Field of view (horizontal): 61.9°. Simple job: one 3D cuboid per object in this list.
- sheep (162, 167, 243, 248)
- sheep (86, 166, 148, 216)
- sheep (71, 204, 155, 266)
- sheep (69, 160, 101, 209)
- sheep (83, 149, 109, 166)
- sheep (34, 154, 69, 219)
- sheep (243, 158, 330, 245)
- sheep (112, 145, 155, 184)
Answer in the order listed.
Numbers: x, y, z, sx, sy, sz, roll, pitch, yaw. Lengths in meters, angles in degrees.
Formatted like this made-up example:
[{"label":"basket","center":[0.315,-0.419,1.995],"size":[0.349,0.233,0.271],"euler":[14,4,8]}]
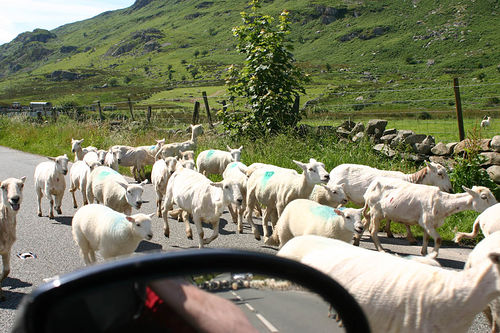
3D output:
[{"label":"sheep","center":[-1.147,0.843,8.921],"size":[0.915,1.458,2.200],"euler":[4,5,-36]},{"label":"sheep","center":[-3.183,0.717,9.700],"size":[0.734,1.180,2.314],"euler":[1,9,-45]},{"label":"sheep","center":[-2.350,1.219,7.010],"size":[1.410,1.003,0.534],"euler":[9,5,22]},{"label":"sheep","center":[-4.451,0.551,11.354],"size":[0.660,1.439,2.352],"euler":[0,2,-35]},{"label":"sheep","center":[-4.933,-0.323,13.448],"size":[0.575,0.800,1.507],"euler":[-2,4,-34]},{"label":"sheep","center":[-5.178,0.445,10.790],"size":[0.740,1.507,1.623],"euler":[5,5,-27]},{"label":"sheep","center":[0.784,0.837,9.498],"size":[0.837,1.912,2.589],"euler":[2,0,-39]},{"label":"sheep","center":[-4.447,-0.101,15.055],"size":[1.978,1.175,0.508],"euler":[0,-2,4]}]
